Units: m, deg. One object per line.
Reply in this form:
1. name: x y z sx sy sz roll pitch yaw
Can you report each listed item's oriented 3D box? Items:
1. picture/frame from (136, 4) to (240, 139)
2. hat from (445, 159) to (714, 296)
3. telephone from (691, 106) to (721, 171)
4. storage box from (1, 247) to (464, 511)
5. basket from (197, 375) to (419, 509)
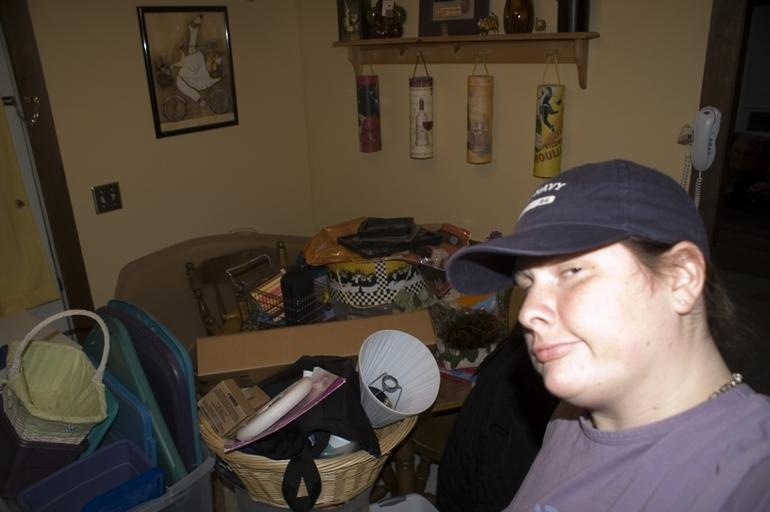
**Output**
1. picture/frame: -1.010 -0.950 2.847 0.036 0.688 0.601 17 32 35
2. hat: 0.541 0.002 1.322 0.459 0.349 0.685 -1 -11 33
3. telephone: 1.265 -0.461 2.230 0.085 0.240 0.127 0 10 -39
4. storage box: -0.371 0.294 1.698 0.840 0.306 0.651 -11 11 -39
5. basket: -0.225 0.541 1.526 0.608 0.337 0.223 0 19 9
